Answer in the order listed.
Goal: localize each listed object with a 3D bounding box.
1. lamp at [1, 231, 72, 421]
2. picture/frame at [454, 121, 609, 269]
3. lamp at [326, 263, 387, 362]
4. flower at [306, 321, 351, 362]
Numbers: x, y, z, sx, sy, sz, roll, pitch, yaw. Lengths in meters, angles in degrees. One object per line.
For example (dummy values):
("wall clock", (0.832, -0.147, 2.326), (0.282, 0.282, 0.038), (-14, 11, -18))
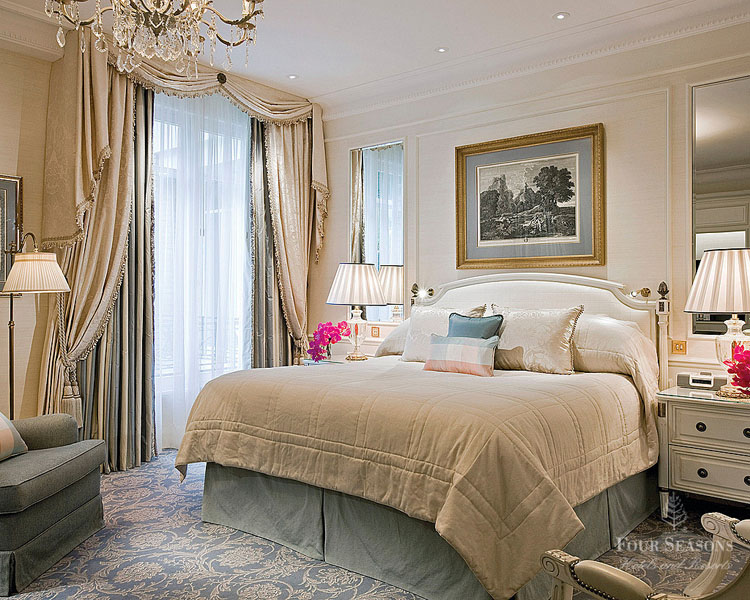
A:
("lamp", (-2.561, 0.186, 4.242), (0.404, 1.420, 0.760), (-3, 4, -36))
("picture/frame", (1.414, -0.925, 4.922), (1.235, 1.173, 0.101), (-2, -2, 36))
("lamp", (-0.158, 0.111, 5.431), (0.527, 0.934, 0.508), (-4, 2, -33))
("flower", (-0.470, 0.382, 5.514), (0.343, 0.438, 0.400), (1, -1, 17))
